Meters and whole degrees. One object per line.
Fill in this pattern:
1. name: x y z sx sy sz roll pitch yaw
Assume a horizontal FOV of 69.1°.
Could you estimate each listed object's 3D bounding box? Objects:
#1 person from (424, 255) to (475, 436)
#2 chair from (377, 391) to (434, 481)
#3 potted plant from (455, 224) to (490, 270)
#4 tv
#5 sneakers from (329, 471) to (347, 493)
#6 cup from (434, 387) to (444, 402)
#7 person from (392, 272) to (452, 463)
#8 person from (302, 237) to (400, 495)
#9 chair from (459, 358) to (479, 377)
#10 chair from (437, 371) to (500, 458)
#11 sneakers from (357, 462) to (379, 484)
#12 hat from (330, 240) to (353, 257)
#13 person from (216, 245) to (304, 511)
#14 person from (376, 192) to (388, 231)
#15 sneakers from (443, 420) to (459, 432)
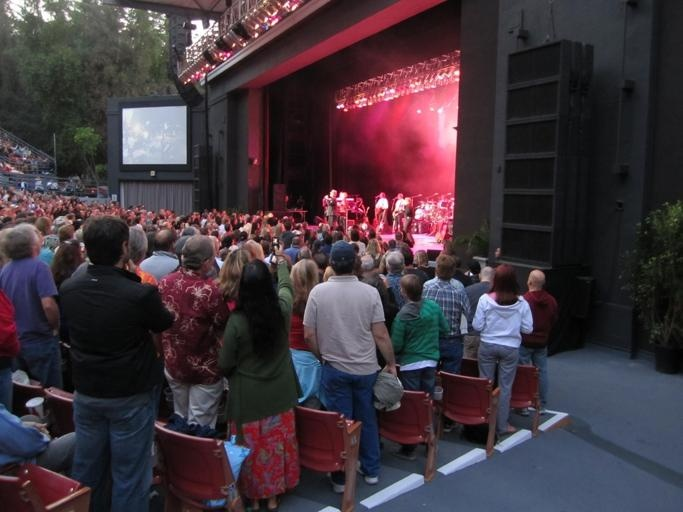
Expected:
1. person: 1.073 0.902 5.250 0.550 1.872 0.454 2 13 7
2. chair: 0.682 1.525 4.538 0.602 0.913 0.625 0 6 18
3. potted plant: 2.498 -0.178 9.511 0.674 0.814 0.731 -1 9 -9
4. tv: -9.545 -6.162 25.547 4.342 3.331 0.377 10 15 23
5. sneakers: -0.031 1.828 4.039 0.066 0.168 0.212 0 4 -20
6. cup: 0.901 1.277 4.633 0.105 0.091 0.109 -1 5 0
7. person: 0.732 0.951 4.723 0.529 1.719 0.509 -15 22 -24
8. person: 0.078 0.902 4.379 0.730 2.313 0.618 0 25 4
9. chair: 1.360 1.185 5.231 0.160 0.151 0.184 4 4 0
10. chair: 1.233 1.447 4.936 0.625 0.978 0.646 1 4 25
11. sneakers: 0.219 1.848 4.209 0.095 0.145 0.288 -2 15 -16
12. hat: 0.010 -0.061 4.114 0.167 0.109 0.264 1 17 1
13. person: -0.579 0.961 3.620 0.578 1.855 0.269 -2 14 -20
14. person: 1.566 -1.753 18.855 0.449 1.499 1.594 4 14 4
15. sneakers: 1.127 1.726 5.109 0.071 0.110 0.217 7 10 38
